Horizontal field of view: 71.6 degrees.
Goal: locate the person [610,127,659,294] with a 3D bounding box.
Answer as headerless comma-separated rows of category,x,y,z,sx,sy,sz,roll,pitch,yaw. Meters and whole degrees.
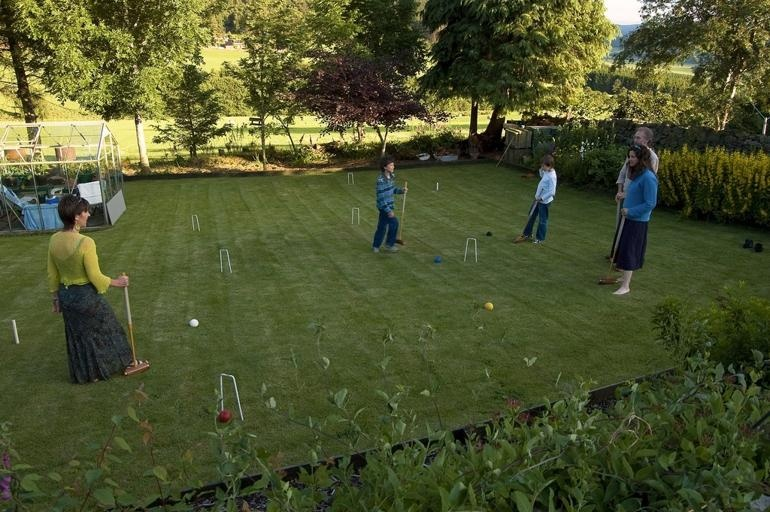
person,4.771,-0.723,10.151,0.579,2.861,1.407,8,13,23

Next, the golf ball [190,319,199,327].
golf ball,-3.335,1.159,9.314,0.135,0.110,0.127,3,21,-1

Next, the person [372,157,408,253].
person,0.076,-1.203,12.678,0.688,2.166,0.777,3,12,-1

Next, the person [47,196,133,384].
person,-4.291,0.491,7.669,1.026,2.684,0.563,-2,13,-19

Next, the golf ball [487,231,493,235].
golf ball,2.712,-0.558,13.768,0.158,0.083,0.179,4,12,7

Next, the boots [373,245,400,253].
boots,0.047,-0.182,12.763,0.649,0.261,0.209,-2,6,-1

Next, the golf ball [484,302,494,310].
golf ball,1.910,0.907,9.691,0.137,0.166,0.132,-13,-3,-1
